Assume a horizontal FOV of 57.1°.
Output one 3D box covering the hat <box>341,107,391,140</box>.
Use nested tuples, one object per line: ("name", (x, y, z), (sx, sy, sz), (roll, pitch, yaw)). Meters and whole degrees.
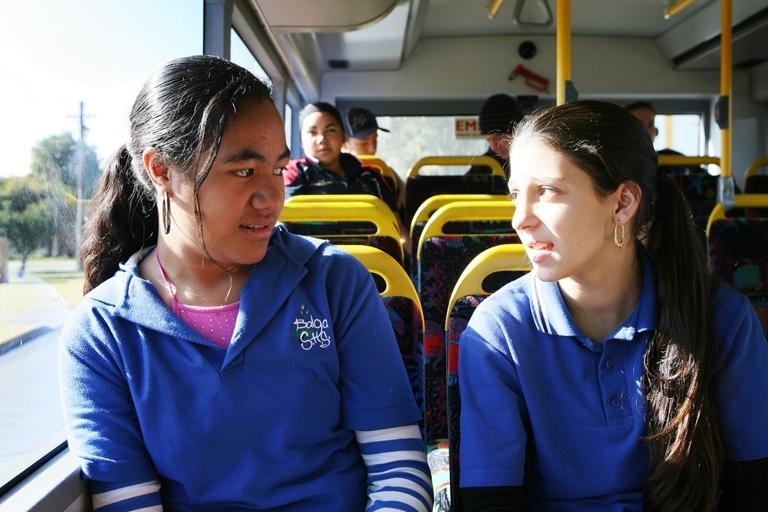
("hat", (-0.167, -1.008, 5.362), (0.184, 0.149, 0.276), (-18, 18, -42))

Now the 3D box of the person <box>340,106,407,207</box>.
("person", (-0.169, -0.618, 5.492), (0.397, 1.035, 0.388), (-10, 10, -12))
